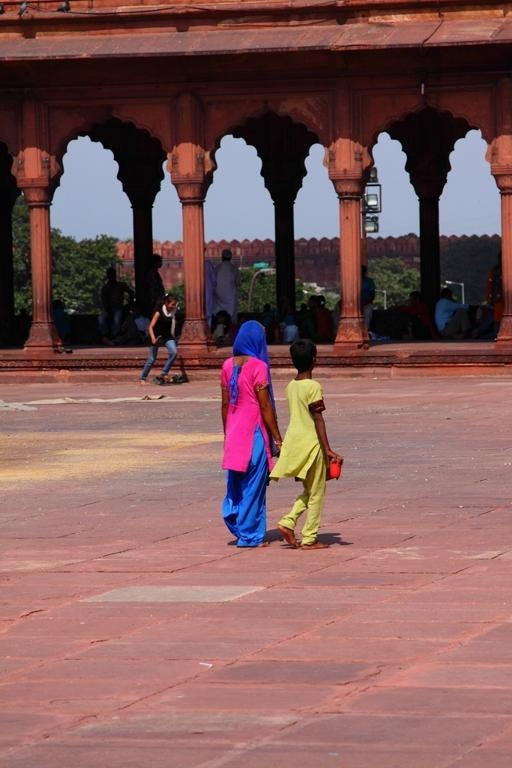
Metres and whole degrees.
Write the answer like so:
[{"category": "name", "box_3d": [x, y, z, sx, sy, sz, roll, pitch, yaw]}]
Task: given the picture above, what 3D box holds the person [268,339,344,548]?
[{"category": "person", "box_3d": [0.223, 0.255, 8.530, 0.251, 0.932, 0.420, -3, 4, -23]}]
